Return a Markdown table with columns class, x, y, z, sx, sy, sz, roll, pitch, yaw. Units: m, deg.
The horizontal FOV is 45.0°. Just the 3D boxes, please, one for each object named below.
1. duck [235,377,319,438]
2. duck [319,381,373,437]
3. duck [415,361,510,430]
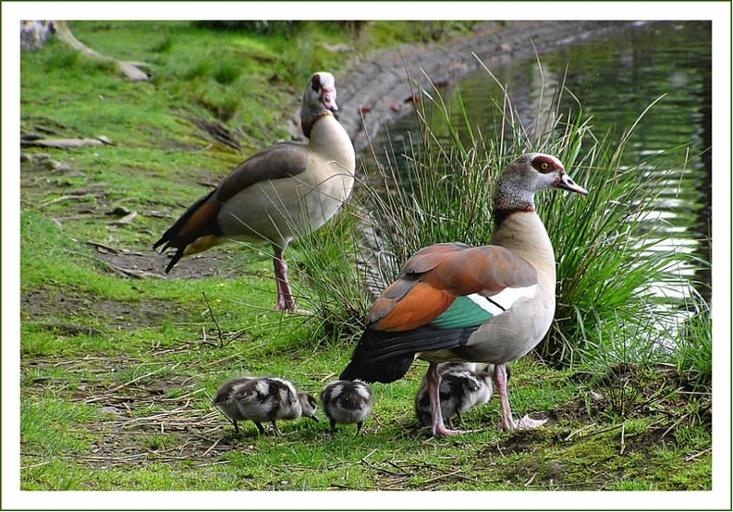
| class | x | y | z | sx | sy | sz | roll | pitch | yaw |
| --- | --- | --- | --- | --- | --- | --- | --- | --- | --- |
| duck | -0.869 | 1.407 | 8.306 | 0.987 | 0.497 | 0.446 | 16 | -27 | -32 |
| duck | -0.181 | 1.324 | 7.863 | 0.379 | 0.398 | 0.684 | 2 | -2 | -1 |
| duck | 0.905 | 1.255 | 8.276 | 0.973 | 0.549 | 0.495 | -2 | -2 | -23 |
